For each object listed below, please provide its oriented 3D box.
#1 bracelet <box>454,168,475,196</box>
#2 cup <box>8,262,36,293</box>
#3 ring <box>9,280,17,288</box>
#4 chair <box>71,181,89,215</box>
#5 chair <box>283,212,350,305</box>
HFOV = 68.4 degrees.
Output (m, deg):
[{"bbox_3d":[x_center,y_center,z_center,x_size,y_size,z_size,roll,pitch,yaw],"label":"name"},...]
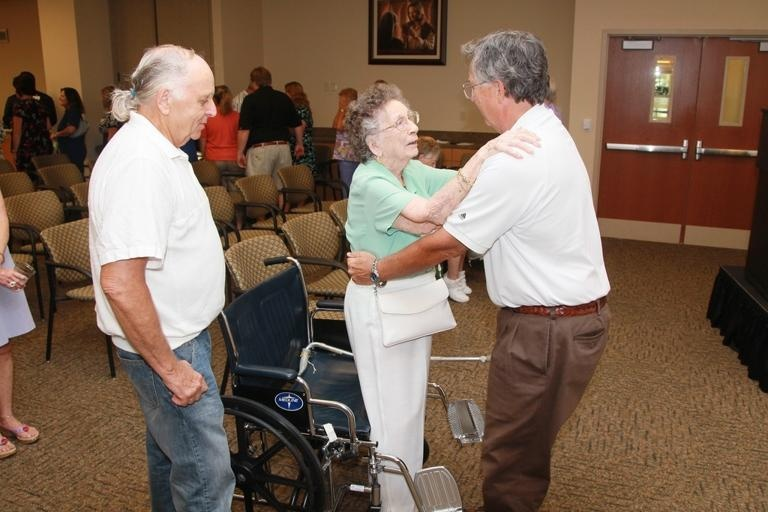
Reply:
[{"bbox_3d":[0.350,-0.323,2.484,0.076,0.112,0.041,1,3,5],"label":"bracelet"},{"bbox_3d":[-1.960,0.098,3.062,0.115,0.141,0.203,-6,16,-24],"label":"cup"},{"bbox_3d":[-1.966,0.151,2.986,0.032,0.034,0.005,-3,14,-12],"label":"ring"},{"bbox_3d":[-3.006,-0.572,5.577,0.128,0.262,0.540,-7,17,-28],"label":"chair"},{"bbox_3d":[-0.487,0.011,4.074,0.416,0.750,0.472,4,19,23],"label":"chair"}]
